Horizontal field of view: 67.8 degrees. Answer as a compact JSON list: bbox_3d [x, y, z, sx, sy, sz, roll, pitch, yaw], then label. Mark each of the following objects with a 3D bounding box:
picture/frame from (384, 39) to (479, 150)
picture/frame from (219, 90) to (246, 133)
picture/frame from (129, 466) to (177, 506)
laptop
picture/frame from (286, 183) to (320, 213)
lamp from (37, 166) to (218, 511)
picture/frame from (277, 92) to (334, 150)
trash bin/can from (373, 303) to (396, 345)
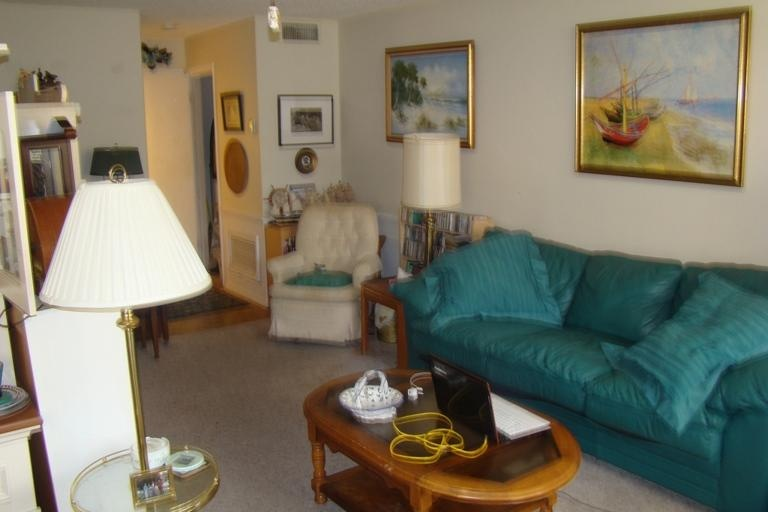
[{"bbox_3d":[0.482,-1.522,5.278,1.263,1.024,0.090,6,9,44],"label":"picture/frame"},{"bbox_3d":[-1.692,-1.648,6.452,0.045,0.465,0.528,-3,8,-31],"label":"picture/frame"},{"bbox_3d":[-0.947,0.945,2.341,0.161,0.132,0.026,-3,-32,-34],"label":"picture/frame"},{"bbox_3d":[0.593,0.611,3.044,0.449,0.393,0.547,-15,19,-33],"label":"laptop"},{"bbox_3d":[-0.896,-0.626,6.216,0.352,0.351,0.094,-1,-6,-18],"label":"picture/frame"},{"bbox_3d":[-0.946,0.368,2.180,0.595,1.401,0.330,0,11,7],"label":"lamp"},{"bbox_3d":[-0.888,-1.509,6.289,0.633,0.522,0.062,-8,17,-29],"label":"picture/frame"},{"bbox_3d":[0.029,0.614,5.177,0.271,0.279,0.288,1,3,5],"label":"trash bin/can"}]
